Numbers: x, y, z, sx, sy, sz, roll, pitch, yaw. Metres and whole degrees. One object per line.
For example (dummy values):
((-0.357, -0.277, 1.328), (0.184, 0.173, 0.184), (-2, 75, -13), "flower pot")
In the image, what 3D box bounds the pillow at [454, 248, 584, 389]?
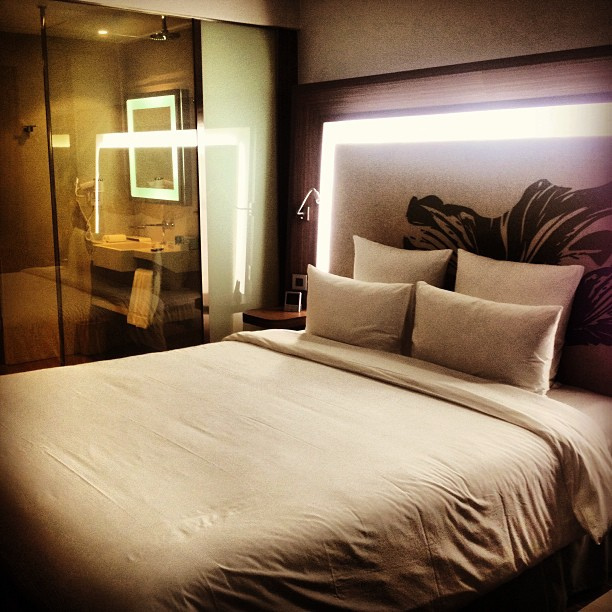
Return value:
((0.926, 0.068, 2.333), (0.264, 0.502, 0.538), (-15, 13, -35), "pillow")

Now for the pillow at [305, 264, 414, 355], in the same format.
((0.246, 0.022, 2.890), (0.617, 0.380, 0.194), (14, 16, 30), "pillow")

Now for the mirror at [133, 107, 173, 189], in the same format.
((-0.973, -1.049, 3.478), (0.329, 0.689, 0.053), (-2, 0, -3), "mirror")

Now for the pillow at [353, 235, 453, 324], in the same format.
((0.606, -0.228, 3.176), (0.447, 0.234, 0.650), (6, -14, 19), "pillow")

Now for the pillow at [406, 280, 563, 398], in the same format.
((0.726, 0.114, 2.394), (0.636, 0.370, 0.206), (16, 17, 32), "pillow")

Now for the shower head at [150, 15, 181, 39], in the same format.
((-0.881, -1.734, 3.424), (0.135, 0.150, 0.144), (-4, 7, -18), "shower head")
